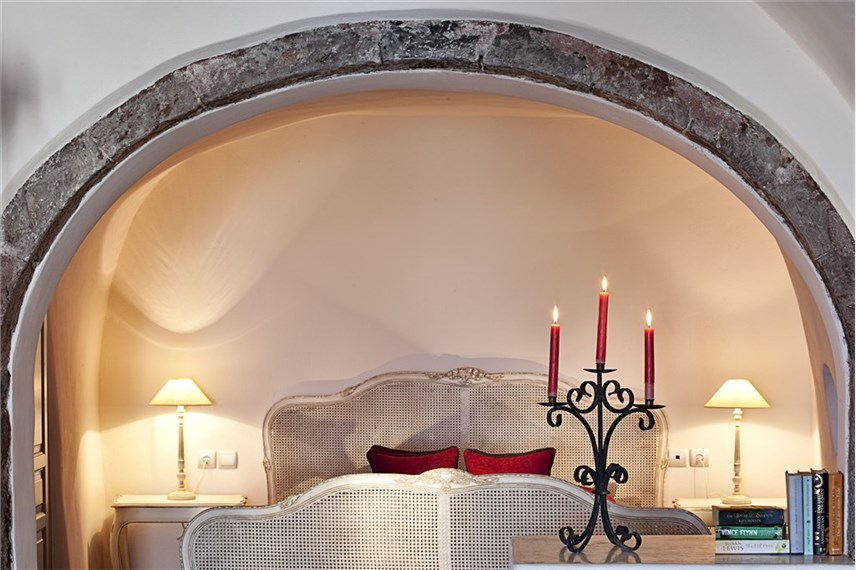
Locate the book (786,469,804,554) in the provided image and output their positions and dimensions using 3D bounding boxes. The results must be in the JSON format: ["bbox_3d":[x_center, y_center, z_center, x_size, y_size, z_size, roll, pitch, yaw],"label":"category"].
[{"bbox_3d":[1.500,0.925,3.657,0.061,0.263,0.263,0,1,10],"label":"book"}]

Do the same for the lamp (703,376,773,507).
[{"bbox_3d":[1.955,0.968,5.603,0.373,0.773,0.380,-7,-13,20],"label":"lamp"}]
